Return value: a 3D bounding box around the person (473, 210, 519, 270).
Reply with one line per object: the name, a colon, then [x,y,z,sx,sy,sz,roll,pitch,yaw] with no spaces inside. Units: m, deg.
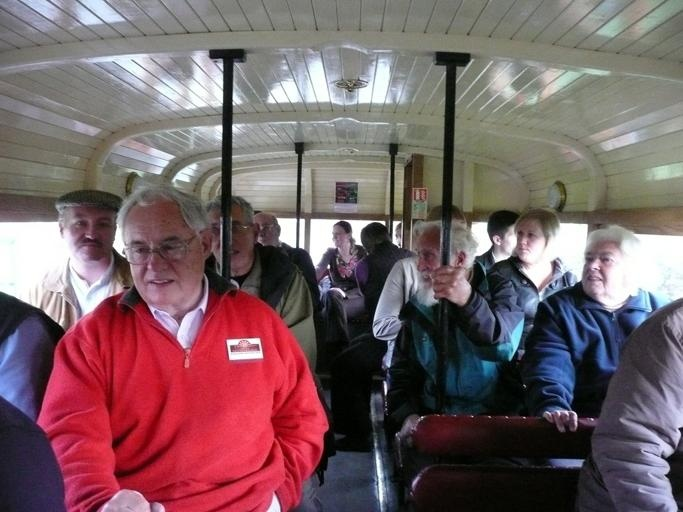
person: [1.727,-0.128,5.992,0.466,0.737,0.445,-4,14,-35]
